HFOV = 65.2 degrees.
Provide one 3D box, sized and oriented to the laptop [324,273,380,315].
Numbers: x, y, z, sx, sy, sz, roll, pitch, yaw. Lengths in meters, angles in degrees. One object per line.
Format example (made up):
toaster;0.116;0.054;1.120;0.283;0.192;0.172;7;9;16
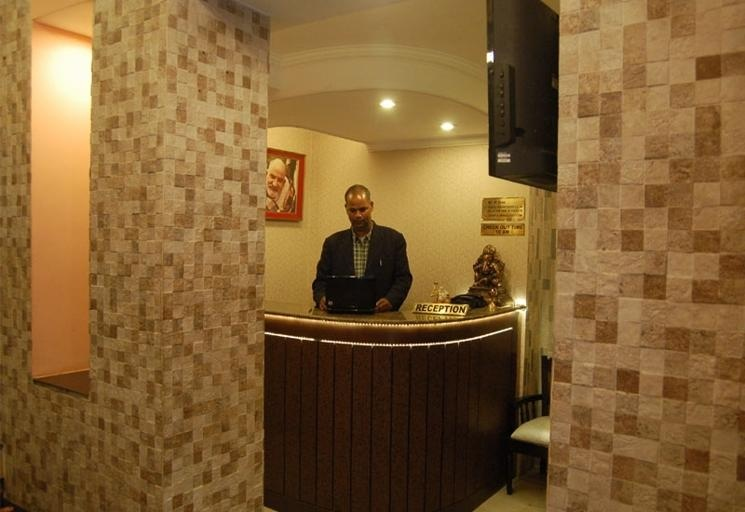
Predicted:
laptop;-0.147;0.263;4.103;0.412;0.231;0.295;0;4;7

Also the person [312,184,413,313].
person;-0.081;0.232;5.001;0.835;1.628;0.818;-3;3;4
